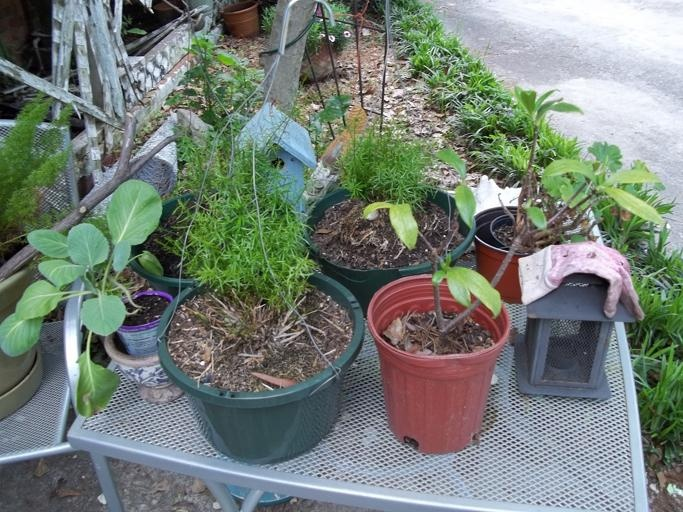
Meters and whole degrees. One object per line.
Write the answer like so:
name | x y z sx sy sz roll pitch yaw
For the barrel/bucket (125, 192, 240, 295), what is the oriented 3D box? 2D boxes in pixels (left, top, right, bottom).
barrel/bucket | -0.637 -0.010 2.043 0.349 0.141 0.374 -2 58 3

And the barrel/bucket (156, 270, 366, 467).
barrel/bucket | -0.212 0.431 1.668 0.510 0.317 0.514 1 40 -1
